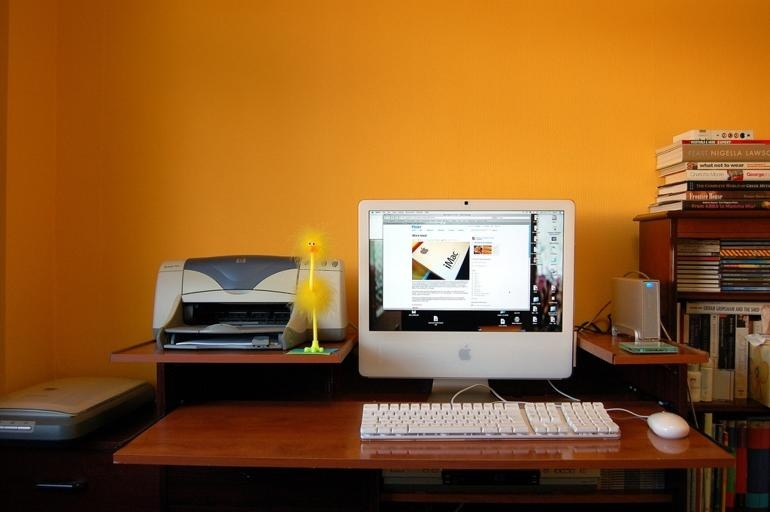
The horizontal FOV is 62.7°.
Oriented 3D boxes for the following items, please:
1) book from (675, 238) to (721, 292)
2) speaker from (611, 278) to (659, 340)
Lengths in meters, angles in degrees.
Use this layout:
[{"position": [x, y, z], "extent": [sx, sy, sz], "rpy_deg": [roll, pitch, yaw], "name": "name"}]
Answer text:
[{"position": [1.242, 0.037, 2.455], "extent": [0.226, 0.199, 0.050], "rpy_deg": [1, -1, 14], "name": "book"}, {"position": [0.982, 0.210, 2.463], "extent": [0.101, 0.220, 0.243], "rpy_deg": [-1, 2, -2], "name": "speaker"}]
